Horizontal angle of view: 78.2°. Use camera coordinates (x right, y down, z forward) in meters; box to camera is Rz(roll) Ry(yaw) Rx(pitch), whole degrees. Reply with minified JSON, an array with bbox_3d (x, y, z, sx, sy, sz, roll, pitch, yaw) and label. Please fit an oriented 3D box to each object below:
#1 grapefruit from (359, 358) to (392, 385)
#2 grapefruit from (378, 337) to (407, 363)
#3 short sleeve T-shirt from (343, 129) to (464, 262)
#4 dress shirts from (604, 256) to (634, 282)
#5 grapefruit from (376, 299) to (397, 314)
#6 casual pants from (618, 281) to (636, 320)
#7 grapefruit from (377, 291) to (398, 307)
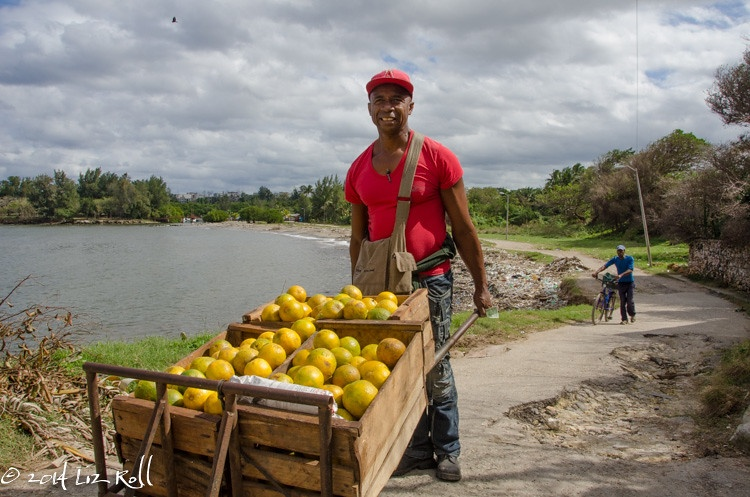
[{"bbox_3d":[0.004,1.000,3.723,0.165,0.187,0.209,35,-6,38],"label":"grapefruit"},{"bbox_3d":[0.145,0.847,3.849,0.205,0.192,0.202,-5,-13,1],"label":"grapefruit"},{"bbox_3d":[0.354,-0.507,4.752,1.129,1.067,0.611,-10,14,22],"label":"short sleeve T-shirt"},{"bbox_3d":[8.315,0.710,15.620,0.474,0.790,0.811,-18,0,-17],"label":"dress shirts"},{"bbox_3d":[0.134,0.548,4.392,0.161,0.133,0.132,33,39,-2],"label":"grapefruit"},{"bbox_3d":[7.895,1.643,14.422,0.484,1.200,0.764,3,3,30],"label":"casual pants"},{"bbox_3d":[0.131,0.481,4.501,0.162,0.133,0.132,29,28,-21],"label":"grapefruit"}]
